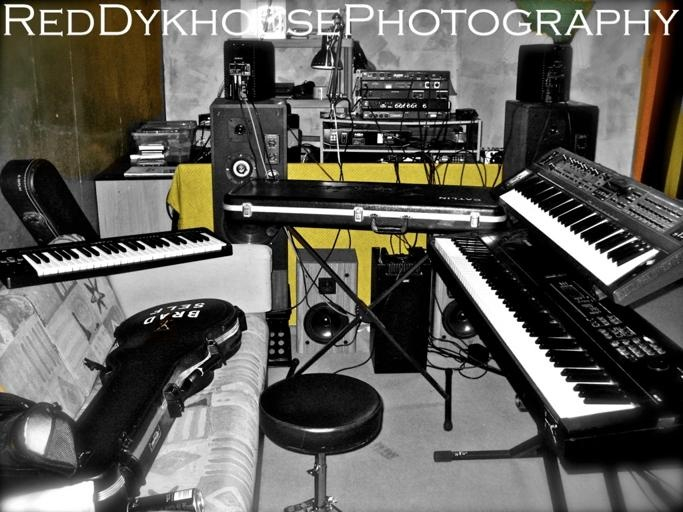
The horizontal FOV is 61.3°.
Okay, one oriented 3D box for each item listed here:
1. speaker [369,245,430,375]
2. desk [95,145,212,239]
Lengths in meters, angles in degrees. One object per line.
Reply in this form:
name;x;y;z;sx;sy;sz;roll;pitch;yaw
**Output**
speaker;0.351;0.328;3.441;0.351;0.726;0.293;-1;19;3
desk;-1.302;-0.635;4.232;0.933;0.929;0.514;-4;9;-19
